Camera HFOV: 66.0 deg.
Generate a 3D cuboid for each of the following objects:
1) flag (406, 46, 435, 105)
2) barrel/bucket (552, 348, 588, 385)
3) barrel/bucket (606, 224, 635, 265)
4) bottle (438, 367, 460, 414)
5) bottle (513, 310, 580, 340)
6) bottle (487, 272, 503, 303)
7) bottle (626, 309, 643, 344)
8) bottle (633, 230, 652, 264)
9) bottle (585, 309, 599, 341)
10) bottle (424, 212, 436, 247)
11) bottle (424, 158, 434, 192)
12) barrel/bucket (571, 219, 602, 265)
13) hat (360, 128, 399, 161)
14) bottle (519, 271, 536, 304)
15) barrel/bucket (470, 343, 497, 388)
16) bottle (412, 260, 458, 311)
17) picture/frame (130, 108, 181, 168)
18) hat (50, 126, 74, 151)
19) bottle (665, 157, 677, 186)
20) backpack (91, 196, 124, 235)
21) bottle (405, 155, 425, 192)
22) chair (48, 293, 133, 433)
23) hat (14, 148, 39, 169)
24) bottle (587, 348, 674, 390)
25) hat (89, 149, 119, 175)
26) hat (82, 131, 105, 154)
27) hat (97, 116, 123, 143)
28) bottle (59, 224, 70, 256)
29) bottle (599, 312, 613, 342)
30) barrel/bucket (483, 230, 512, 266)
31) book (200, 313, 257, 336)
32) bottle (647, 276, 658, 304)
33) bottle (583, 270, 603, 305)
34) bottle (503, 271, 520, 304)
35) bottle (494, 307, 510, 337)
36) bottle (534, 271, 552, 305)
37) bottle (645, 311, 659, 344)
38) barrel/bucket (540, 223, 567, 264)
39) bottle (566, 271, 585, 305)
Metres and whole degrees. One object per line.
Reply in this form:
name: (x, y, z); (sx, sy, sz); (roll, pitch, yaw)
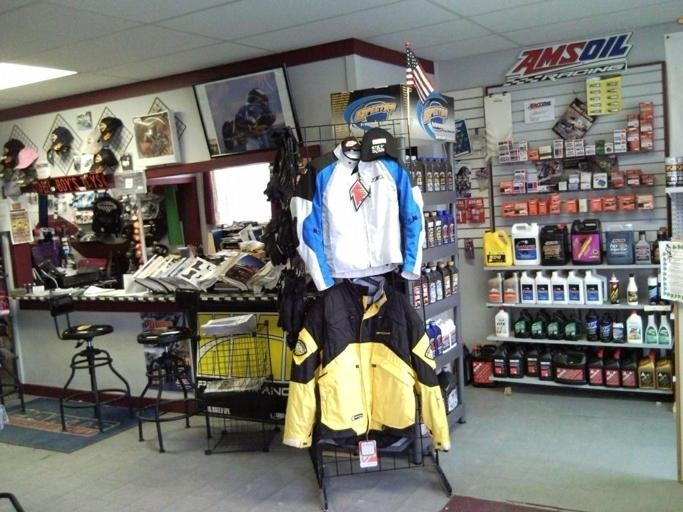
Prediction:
flag: (0.616, -1.548, 4.412); (0.227, 0.493, 0.046); (-9, 46, 17)
barrel/bucket: (2.475, 1.193, 5.668); (0.366, 0.247, 0.364); (-7, 12, 1)
barrel/bucket: (2.867, -0.117, 5.417); (0.260, 0.390, 0.198); (-1, 8, 25)
bottle: (0.983, 1.247, 4.979); (0.204, 0.363, 0.221); (2, -28, 1)
bottle: (2.253, 0.738, 5.775); (0.672, 0.289, 0.267); (-1, 8, 24)
bottle: (1.733, 0.360, 5.915); (0.152, 0.338, 0.115); (-2, 7, 17)
bottle: (2.977, 0.718, 5.352); (0.151, 0.309, 0.198); (0, 8, 29)
bottle: (3.079, -0.090, 5.380); (0.155, 0.320, 0.214); (0, 8, 29)
bottle: (2.659, 0.733, 5.583); (0.129, 0.277, 0.194); (-1, 7, 22)
bottle: (0.781, -0.222, 4.664); (0.092, 0.302, 0.299); (-3, 7, 10)
bottle: (0.780, -0.713, 4.696); (0.065, 0.287, 0.191); (-3, 7, 13)
barrel/bucket: (2.585, -0.150, 5.565); (0.295, 0.458, 0.183); (-1, 8, 23)
hat: (0.280, -0.840, 3.991); (0.334, 0.244, 0.108); (-7, 7, -24)
bottle: (2.092, 0.360, 5.803); (0.229, 0.334, 0.221); (-6, 1, 0)
barrel/bucket: (1.663, 1.275, 6.132); (0.281, 0.429, 0.256); (-5, 9, 1)
bottle: (0.817, 0.265, 4.686); (0.151, 0.281, 0.467); (-2, 6, 30)
picture/frame: (-2.173, -1.350, 6.181); (0.601, 0.576, 0.161); (0, 9, 27)
hat: (-3.624, -1.507, 6.871); (0.241, 0.290, 0.335); (-27, 13, -28)
bottle: (2.955, -0.743, 4.703); (0.090, 0.259, 0.127); (1, 9, 36)
backpack: (-3.071, -0.534, 6.913); (0.511, 0.644, 0.257); (1, 2, 6)
bottle: (0.619, -0.687, 4.528); (0.091, 0.291, 0.229); (-12, 7, 19)
chair: (-2.877, 1.098, 5.983); (0.761, 1.410, 1.396); (-8, 8, -29)
hat: (-4.170, -1.282, 6.941); (0.236, 0.152, 0.305); (11, 36, 40)
bottle: (2.966, 1.168, 5.387); (0.596, 0.372, 0.187); (2, 8, 23)
hat: (-2.992, -1.168, 6.572); (0.424, 0.322, 0.138); (0, 8, 28)
hat: (-3.121, -1.386, 6.573); (0.203, 0.319, 0.213); (13, -33, -17)
hat: (-2.855, -1.537, 6.437); (0.371, 0.312, 0.181); (1, 9, 38)
bottle: (-3.799, -0.205, 7.203); (0.120, 0.444, 0.357); (-8, 8, -28)
bottle: (2.747, 0.739, 5.474); (0.122, 0.276, 0.127); (-4, 7, 0)
barrel/bucket: (1.756, -0.072, 5.891); (0.301, 0.368, 0.176); (-3, 7, 5)
book: (-1.074, 0.686, 5.047); (0.507, 0.183, 0.218); (-5, 7, -13)
bottle: (3.165, 0.338, 5.335); (0.099, 0.258, 0.201); (0, 8, 31)
bottle: (2.634, 0.326, 5.501); (0.179, 0.339, 0.155); (-1, 8, 27)
bottle: (1.876, 0.352, 5.832); (0.171, 0.341, 0.096); (-2, 7, 18)
bottle: (1.806, 0.735, 5.922); (0.147, 0.326, 0.175); (-2, 7, 21)
bottle: (2.175, 0.342, 5.668); (0.125, 0.343, 0.142); (-6, 7, -18)
bottle: (3.148, 0.724, 5.347); (0.128, 0.277, 0.242); (0, 8, 30)
barrel/bucket: (2.324, -0.136, 5.772); (0.277, 0.407, 0.283); (-10, 20, 4)
bottle: (2.512, 0.353, 5.609); (0.228, 0.317, 0.220); (-4, 0, 0)
